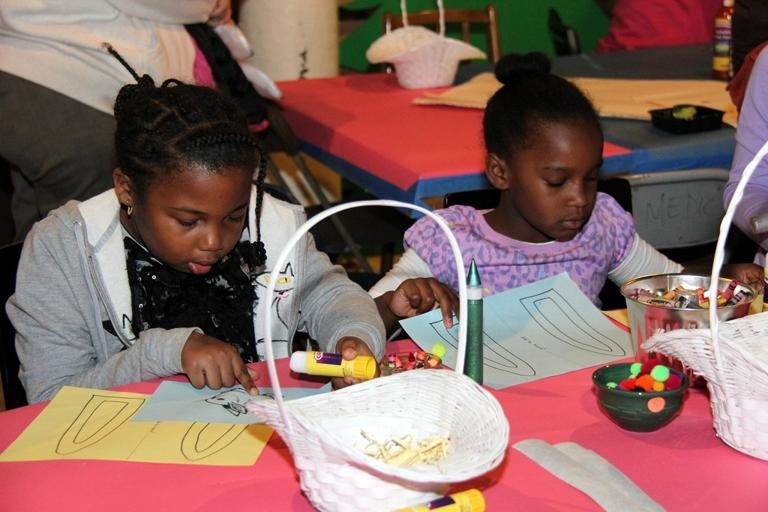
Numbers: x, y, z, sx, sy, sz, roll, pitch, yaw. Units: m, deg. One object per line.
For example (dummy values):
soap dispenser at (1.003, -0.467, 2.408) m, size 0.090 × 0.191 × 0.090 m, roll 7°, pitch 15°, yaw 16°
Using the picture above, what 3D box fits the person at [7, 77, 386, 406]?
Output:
person at (-0.502, -0.043, 1.572) m, size 0.650 × 0.857 × 0.632 m, roll 38°, pitch 48°, yaw 26°

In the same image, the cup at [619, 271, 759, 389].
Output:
cup at (0.569, 0.105, 1.272) m, size 0.249 × 0.147 × 0.232 m, roll -2°, pitch 19°, yaw 1°

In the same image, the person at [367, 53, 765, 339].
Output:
person at (0.527, -0.166, 1.796) m, size 0.891 × 0.954 × 0.489 m, roll -17°, pitch 31°, yaw -16°

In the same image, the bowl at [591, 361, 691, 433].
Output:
bowl at (0.452, 0.266, 1.113) m, size 0.126 × 0.063 × 0.118 m, roll -3°, pitch -5°, yaw 0°
